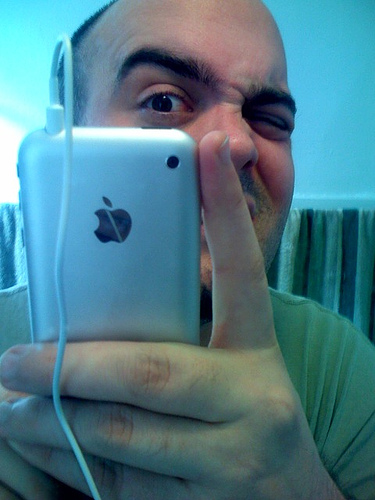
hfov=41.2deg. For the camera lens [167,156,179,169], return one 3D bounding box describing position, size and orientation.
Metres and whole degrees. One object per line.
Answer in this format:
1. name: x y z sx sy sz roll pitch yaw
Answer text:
1. camera lens: -0.018 -0.108 0.615 0.014 0.016 0.004 -7 9 -21
